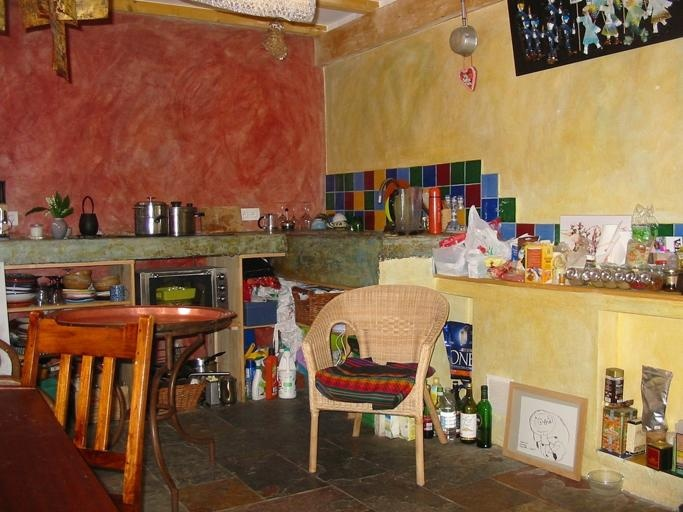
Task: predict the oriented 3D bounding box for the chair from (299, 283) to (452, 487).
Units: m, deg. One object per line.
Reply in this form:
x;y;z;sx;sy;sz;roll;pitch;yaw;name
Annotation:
0.237;0.708;3.336;0.902;0.966;0.870;-3;2;-25;chair

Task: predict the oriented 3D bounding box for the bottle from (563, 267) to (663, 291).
1.391;0.118;2.990;0.456;0.102;0.114;2;7;26;bottle

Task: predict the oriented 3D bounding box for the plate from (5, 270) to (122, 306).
-1.853;0.210;3.919;0.725;0.217;0.268;-4;7;-21;plate

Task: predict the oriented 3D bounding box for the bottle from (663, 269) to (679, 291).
1.598;0.120;2.827;0.084;0.094;0.084;-1;2;-15;bottle

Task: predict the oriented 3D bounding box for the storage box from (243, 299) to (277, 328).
-0.619;0.436;4.411;0.201;0.150;0.201;1;-2;-34;storage box

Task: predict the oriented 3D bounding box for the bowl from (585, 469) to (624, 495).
1.317;1.129;2.907;0.124;0.064;0.120;-4;0;0;bowl

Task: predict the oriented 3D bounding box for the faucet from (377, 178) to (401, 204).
0.354;-0.522;4.654;0.148;0.208;0.070;13;-6;-12;faucet

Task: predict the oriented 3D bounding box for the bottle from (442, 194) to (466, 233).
0.787;-0.300;4.104;0.164;0.256;0.272;0;6;10;bottle

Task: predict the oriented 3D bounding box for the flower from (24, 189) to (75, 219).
-2.075;-0.352;4.153;0.301;0.159;0.249;-3;13;23;flower

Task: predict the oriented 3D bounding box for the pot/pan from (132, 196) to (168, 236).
-1.404;-0.280;4.297;0.207;0.235;0.271;0;0;-10;pot/pan

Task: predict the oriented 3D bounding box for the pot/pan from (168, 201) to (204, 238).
-1.201;-0.278;4.441;0.318;0.307;0.245;1;1;-8;pot/pan

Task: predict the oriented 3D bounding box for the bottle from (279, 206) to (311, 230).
-0.406;-0.317;5.095;0.231;0.194;0.232;-1;4;-38;bottle

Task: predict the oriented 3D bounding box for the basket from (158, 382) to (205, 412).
-1.150;1.001;4.197;0.282;0.183;0.370;-5;-8;33;basket

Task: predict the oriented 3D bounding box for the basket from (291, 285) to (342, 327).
-0.186;0.376;4.298;0.260;0.163;0.357;1;-2;45;basket

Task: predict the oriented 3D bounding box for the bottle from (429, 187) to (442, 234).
0.651;-0.319;4.074;0.089;0.314;0.159;0;7;10;bottle

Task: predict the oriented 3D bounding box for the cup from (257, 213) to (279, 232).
-0.599;-0.281;4.923;0.214;0.186;0.135;-2;7;-32;cup

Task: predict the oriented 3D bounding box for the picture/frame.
1.117;0.966;3.159;0.037;0.499;0.510;7;-1;-41;picture/frame

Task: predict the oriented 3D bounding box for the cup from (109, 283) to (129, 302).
-1.514;0.259;3.935;0.075;0.102;0.119;0;-1;45;cup

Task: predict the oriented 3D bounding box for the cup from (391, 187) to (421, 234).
0.446;-0.310;3.954;0.183;0.310;0.119;-1;6;4;cup

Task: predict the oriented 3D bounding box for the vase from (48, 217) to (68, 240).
-1.910;-0.188;3.927;0.086;0.135;0.124;-4;7;-23;vase

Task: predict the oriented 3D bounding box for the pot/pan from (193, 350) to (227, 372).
-1.019;0.786;4.352;0.138;0.097;0.245;2;0;-34;pot/pan
